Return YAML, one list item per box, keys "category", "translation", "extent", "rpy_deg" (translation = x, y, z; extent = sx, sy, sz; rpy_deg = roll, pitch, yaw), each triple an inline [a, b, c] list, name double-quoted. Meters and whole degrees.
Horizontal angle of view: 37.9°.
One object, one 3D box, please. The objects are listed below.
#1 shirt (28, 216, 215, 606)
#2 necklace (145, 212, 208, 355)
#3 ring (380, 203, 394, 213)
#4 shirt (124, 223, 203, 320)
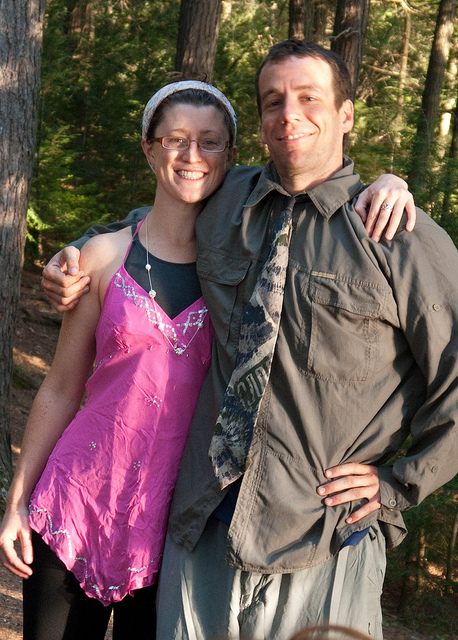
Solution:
- category: "shirt"
  translation: [-0.356, 0.327, 2.631]
  extent: [0.625, 1.347, 0.466]
  rpy_deg: [14, -6, -4]
- category: "necklace"
  translation: [-0.267, -0.123, 2.523]
  extent: [0.229, 0.451, 0.265]
  rpy_deg: [-9, 14, -17]
- category: "ring"
  translation: [0.536, -0.379, 2.259]
  extent: [0.027, 0.019, 0.035]
  rpy_deg: [22, -16, 41]
- category: "shirt"
  translation: [-0.249, -0.174, 2.574]
  extent: [0.275, 0.327, 0.074]
  rpy_deg: [2, -25, -11]
